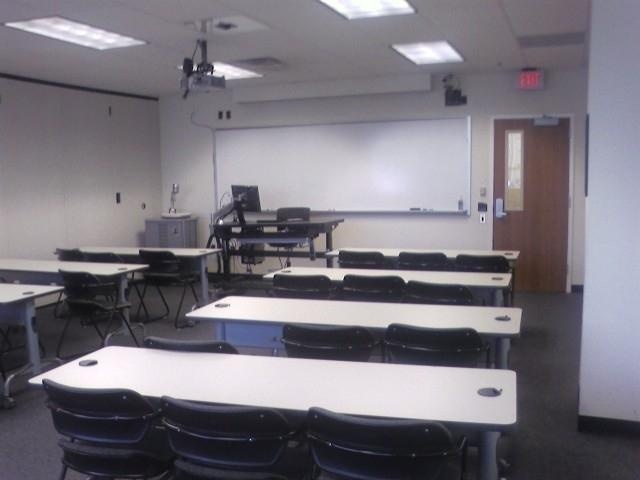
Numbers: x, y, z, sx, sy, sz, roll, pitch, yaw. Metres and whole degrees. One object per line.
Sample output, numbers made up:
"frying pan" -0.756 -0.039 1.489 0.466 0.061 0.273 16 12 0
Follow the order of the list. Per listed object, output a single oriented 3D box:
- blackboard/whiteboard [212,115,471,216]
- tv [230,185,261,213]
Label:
"blackboard/whiteboard" 0.606 -1.173 8.700 3.504 1.460 0.167 2 11 18
"tv" -1.139 -0.613 8.161 0.415 0.389 0.153 5 14 22
